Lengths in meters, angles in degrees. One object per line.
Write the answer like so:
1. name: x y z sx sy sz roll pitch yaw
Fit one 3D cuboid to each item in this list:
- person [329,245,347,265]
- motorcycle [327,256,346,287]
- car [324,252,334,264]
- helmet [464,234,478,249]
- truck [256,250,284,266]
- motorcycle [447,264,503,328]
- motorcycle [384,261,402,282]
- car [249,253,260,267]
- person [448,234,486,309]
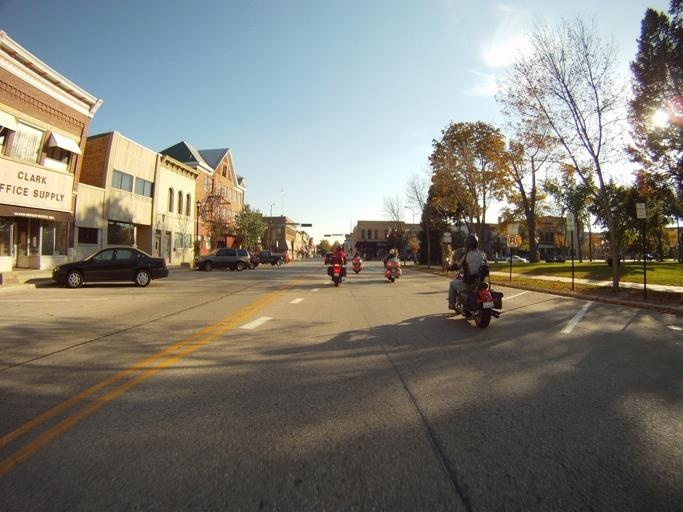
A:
1. person: -0.195 0.024 21.680 0.627 0.983 1.585 2 7 4
2. motorcycle: -0.179 0.681 21.874 0.742 1.523 2.072 0 3 1
3. car: -1.422 0.107 52.131 1.163 1.468 2.559 1 12 7
4. helmet: 3.254 -0.385 11.404 0.262 0.426 0.367 6 2 -16
5. truck: -9.173 0.276 57.242 2.245 1.452 1.660 -2 3 -1
6. motorcycle: 3.400 0.970 11.167 0.677 1.106 1.759 2 5 4
7. motorcycle: 2.834 0.823 24.960 0.744 1.135 0.785 0 3 -2
8. car: -8.447 0.391 44.923 1.176 1.312 2.212 -2 -3 13
9. person: 3.070 0.009 11.296 0.508 0.758 1.065 29 16 38
